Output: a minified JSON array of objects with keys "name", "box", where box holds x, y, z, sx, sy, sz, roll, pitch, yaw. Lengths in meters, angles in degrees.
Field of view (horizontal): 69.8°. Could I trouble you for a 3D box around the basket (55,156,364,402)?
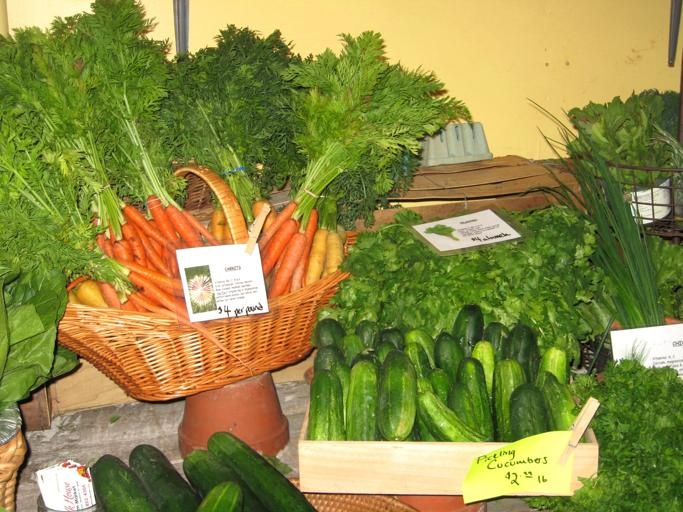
[{"name":"basket","box":[-0.507,0.106,2.063,1.089,0.381,0.936,-5,6,-40]}]
